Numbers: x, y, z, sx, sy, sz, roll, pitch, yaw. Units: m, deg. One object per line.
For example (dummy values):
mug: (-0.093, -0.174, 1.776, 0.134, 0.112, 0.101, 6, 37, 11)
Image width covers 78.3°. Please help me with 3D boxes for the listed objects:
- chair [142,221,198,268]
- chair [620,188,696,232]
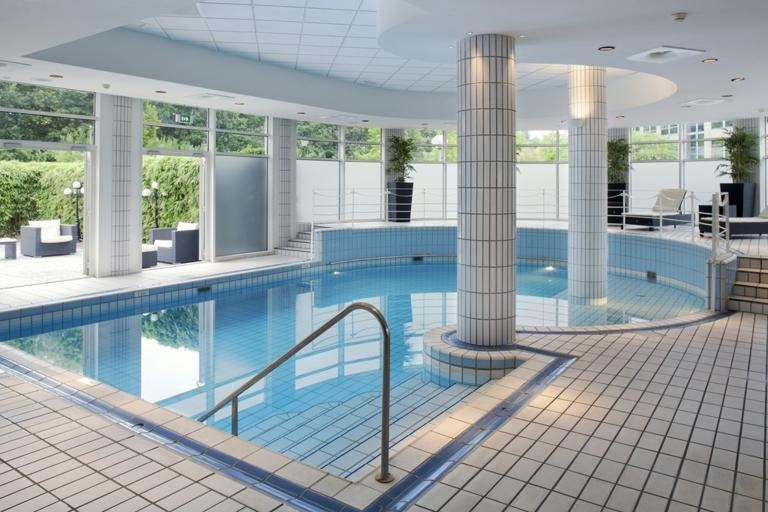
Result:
chair: (-5.657, -0.269, 11.833, 1.468, 1.077, 1.506, 1, 0, 34)
chair: (7.136, -1.219, 11.983, 2.434, 1.061, 1.162, -2, 3, -24)
